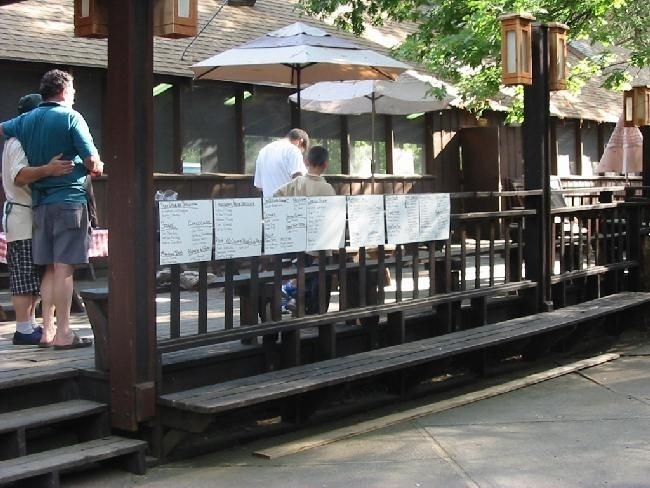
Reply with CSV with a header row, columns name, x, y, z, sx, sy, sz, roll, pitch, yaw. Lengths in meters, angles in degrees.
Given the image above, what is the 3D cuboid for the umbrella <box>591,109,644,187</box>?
name,x,y,z,sx,sy,sz,roll,pitch,yaw
umbrella,4.649,-1.407,14.583,1.222,1.136,0.816,-4,3,-41

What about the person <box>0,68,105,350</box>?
name,x,y,z,sx,sy,sz,roll,pitch,yaw
person,-2.243,-0.290,8.134,0.517,2.330,0.726,-6,11,-36

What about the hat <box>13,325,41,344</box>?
name,x,y,z,sx,sy,sz,roll,pitch,yaw
hat,-2.573,0.810,8.363,0.296,0.117,0.104,-1,1,-7

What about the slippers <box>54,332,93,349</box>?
name,x,y,z,sx,sy,sz,roll,pitch,yaw
slippers,-2.159,0.817,8.201,0.279,0.102,0.139,0,1,-42

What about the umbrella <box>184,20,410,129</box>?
name,x,y,z,sx,sy,sz,roll,pitch,yaw
umbrella,-0.275,-1.866,10.581,2.140,1.114,1.740,6,11,35
